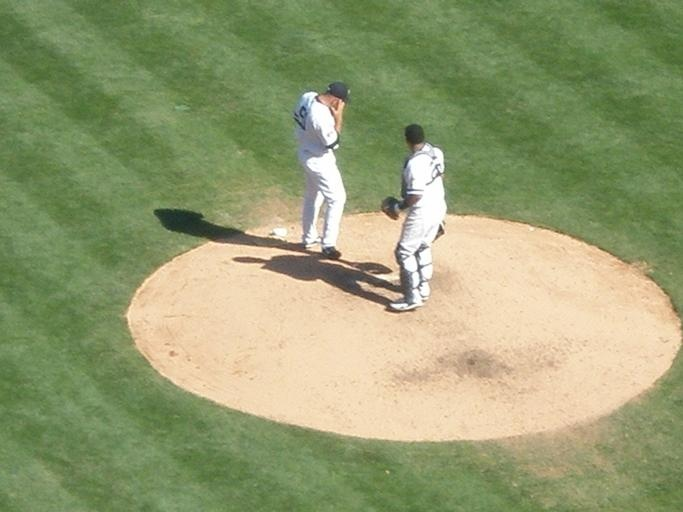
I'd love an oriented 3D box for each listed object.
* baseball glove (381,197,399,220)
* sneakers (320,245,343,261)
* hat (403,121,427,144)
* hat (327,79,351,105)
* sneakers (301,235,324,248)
[{"bbox_3d":[0.794,-0.724,22.978,0.270,0.261,0.328,-7,96,17],"label":"baseball glove"},{"bbox_3d":[-0.190,-0.002,24.126,0.343,0.219,0.174,0,68,3],"label":"sneakers"},{"bbox_3d":[1.142,-1.913,22.584,0.298,0.347,0.323,-6,105,1],"label":"hat"},{"bbox_3d":[-0.015,-2.630,23.519,0.339,0.491,0.270,50,116,35],"label":"hat"},{"bbox_3d":[-0.531,-0.177,24.469,0.389,0.155,0.153,-21,37,-15],"label":"sneakers"}]
